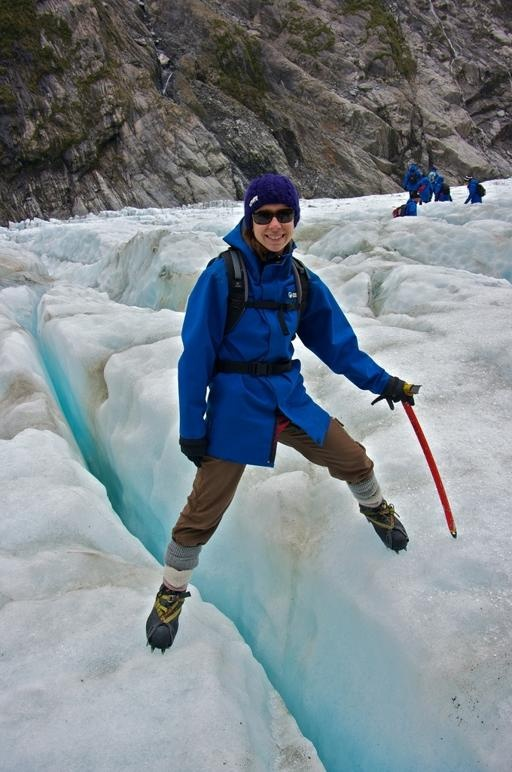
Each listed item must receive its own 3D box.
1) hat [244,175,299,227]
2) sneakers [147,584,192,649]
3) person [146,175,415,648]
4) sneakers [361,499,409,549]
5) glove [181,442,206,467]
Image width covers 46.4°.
[{"bbox_3d":[0.062,-0.693,2.240,0.206,0.177,0.205,-3,-10,3],"label":"hat"},{"bbox_3d":[-0.315,0.883,2.355,0.117,0.163,0.323,22,16,-12],"label":"sneakers"},{"bbox_3d":[0.101,0.208,2.430,1.088,1.951,0.853,0,31,-16],"label":"person"},{"bbox_3d":[0.537,0.586,2.502,0.088,0.112,0.224,-26,51,-10],"label":"sneakers"},{"bbox_3d":[-0.236,0.242,2.187,0.080,0.101,0.040,0,28,10],"label":"glove"}]
